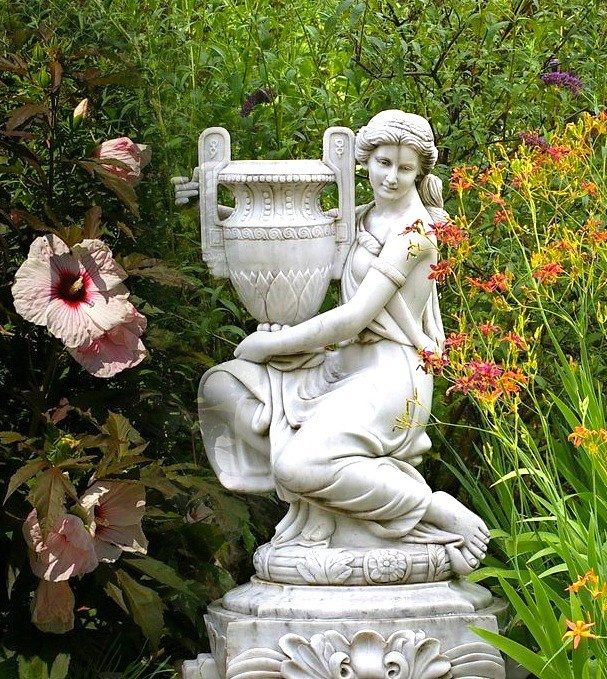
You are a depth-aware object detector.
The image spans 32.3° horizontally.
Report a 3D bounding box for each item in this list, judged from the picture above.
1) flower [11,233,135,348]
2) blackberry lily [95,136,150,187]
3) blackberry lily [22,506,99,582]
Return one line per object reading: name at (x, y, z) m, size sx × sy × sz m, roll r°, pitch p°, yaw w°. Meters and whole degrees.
flower at (-0.458, -0.148, 2.184) m, size 0.300 × 0.308 × 0.098 m, roll 6°, pitch 47°, yaw 30°
blackberry lily at (-0.405, -0.466, 2.350) m, size 0.133 × 0.069 × 0.112 m, roll 16°, pitch 58°, yaw 5°
blackberry lily at (-0.472, 0.476, 2.048) m, size 0.139 × 0.208 × 0.127 m, roll -4°, pitch 25°, yaw -16°
